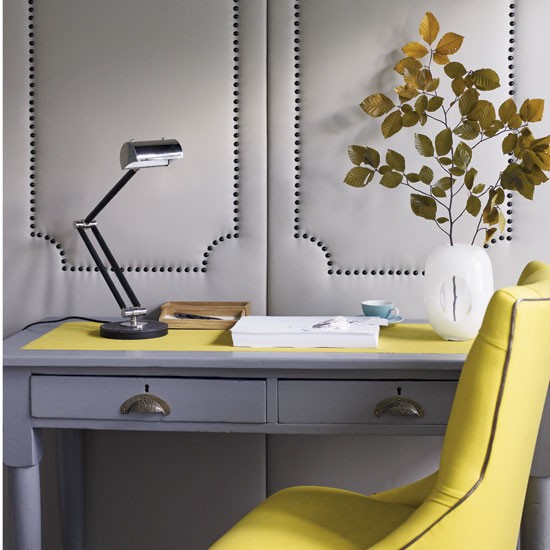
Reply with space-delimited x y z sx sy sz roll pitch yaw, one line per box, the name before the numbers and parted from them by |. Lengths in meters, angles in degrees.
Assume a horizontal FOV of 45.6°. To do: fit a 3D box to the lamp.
lamp | -0.329 -0.095 1.485 0.248 0.520 0.459 4 -18 -18
